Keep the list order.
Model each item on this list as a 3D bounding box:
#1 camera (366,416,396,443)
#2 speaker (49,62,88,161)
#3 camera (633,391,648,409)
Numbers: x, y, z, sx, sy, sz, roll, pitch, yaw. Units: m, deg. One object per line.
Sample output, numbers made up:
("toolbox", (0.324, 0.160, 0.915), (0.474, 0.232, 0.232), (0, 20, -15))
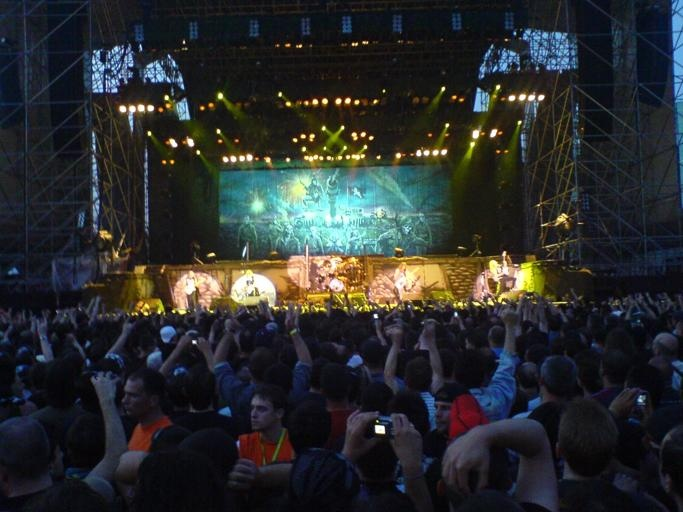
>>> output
("camera", (0.429, 1.850, 9.186), (0.327, 0.309, 0.194), (-1, 3, 15))
("speaker", (-9.131, -4.719, 28.652), (0.394, 4.085, 1.305), (24, 29, 29))
("camera", (3.611, 1.735, 10.282), (0.139, 0.203, 0.047), (0, -5, 45))
